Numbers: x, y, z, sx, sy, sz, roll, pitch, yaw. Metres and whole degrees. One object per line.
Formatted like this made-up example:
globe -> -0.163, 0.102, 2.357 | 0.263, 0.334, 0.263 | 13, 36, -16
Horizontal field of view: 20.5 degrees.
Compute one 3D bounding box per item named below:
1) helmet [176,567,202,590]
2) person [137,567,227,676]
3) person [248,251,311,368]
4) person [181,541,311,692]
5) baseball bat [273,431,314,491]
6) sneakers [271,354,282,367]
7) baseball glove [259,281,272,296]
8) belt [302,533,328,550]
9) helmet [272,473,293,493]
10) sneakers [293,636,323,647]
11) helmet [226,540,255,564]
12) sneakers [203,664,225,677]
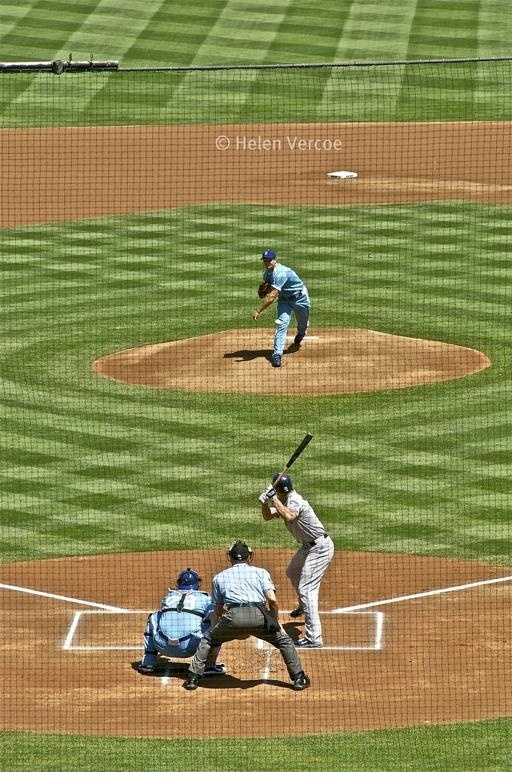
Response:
helmet -> -0.542, 1.593, 11.601 | 0.140, 0.150, 0.220 | 5, 29, 0
person -> -0.568, 1.944, 11.616 | 0.646, 0.885, 0.898 | 6, 6, -1
person -> 0.370, -1.038, 18.856 | 0.604, 1.667, 2.099 | 6, 11, 8
person -> -0.069, 1.804, 11.311 | 0.869, 1.175, 0.595 | 1, 3, 13
baseball bat -> 0.423, 0.818, 15.450 | 0.136, 0.776, 0.105 | 39, 10, 29
sneakers -> 0.299, -0.397, 19.247 | 0.096, 0.179, 0.177 | 0, 33, 2
baseball glove -> 0.108, -1.330, 18.428 | 0.066, 0.228, 0.151 | 9, 3, 42
belt -> 0.512, 1.312, 12.171 | 0.167, 0.067, 0.125 | -32, 17, -3
helmet -> 0.225, 0.802, 11.823 | 0.116, 0.131, 0.164 | 9, 34, -18
sneakers -> 0.448, 2.158, 11.947 | 0.234, 0.116, 0.092 | 6, 15, -1
helmet -> -0.118, 1.342, 11.327 | 0.176, 0.213, 0.223 | 1, 22, 0
sneakers -> -0.335, 2.298, 11.589 | 0.197, 0.103, 0.083 | -7, 34, -8
